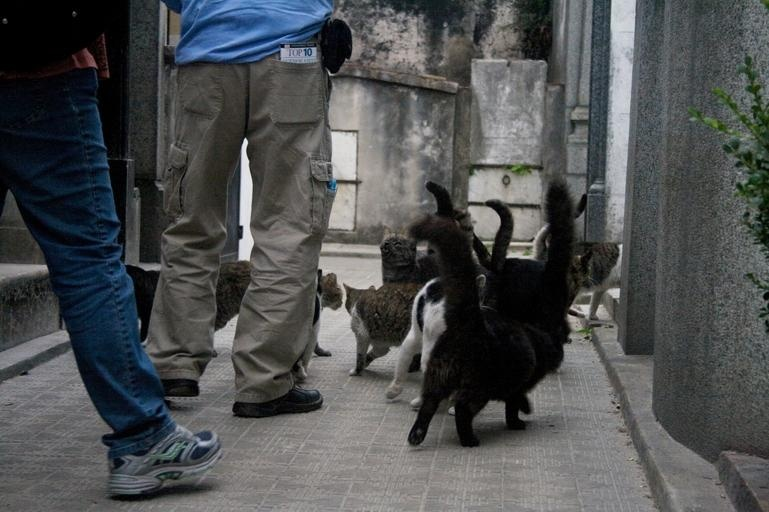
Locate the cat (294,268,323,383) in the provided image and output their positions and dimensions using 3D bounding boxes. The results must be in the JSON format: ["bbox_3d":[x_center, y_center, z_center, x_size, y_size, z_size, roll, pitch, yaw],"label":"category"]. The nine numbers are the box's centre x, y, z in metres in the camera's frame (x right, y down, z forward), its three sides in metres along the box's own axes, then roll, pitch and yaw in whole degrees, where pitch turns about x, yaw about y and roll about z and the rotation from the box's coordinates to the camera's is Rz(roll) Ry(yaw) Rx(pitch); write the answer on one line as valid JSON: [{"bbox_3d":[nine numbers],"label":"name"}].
[{"bbox_3d":[-0.502,0.469,5.209,0.152,0.723,0.395,10,-14,-17],"label":"cat"}]

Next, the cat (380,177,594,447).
[{"bbox_3d":[0.649,0.308,4.694,0.660,1.461,1.133,9,13,30],"label":"cat"}]

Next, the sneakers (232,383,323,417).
[{"bbox_3d":[-0.658,0.871,4.971,0.515,0.217,0.192,-7,15,-30],"label":"sneakers"}]
